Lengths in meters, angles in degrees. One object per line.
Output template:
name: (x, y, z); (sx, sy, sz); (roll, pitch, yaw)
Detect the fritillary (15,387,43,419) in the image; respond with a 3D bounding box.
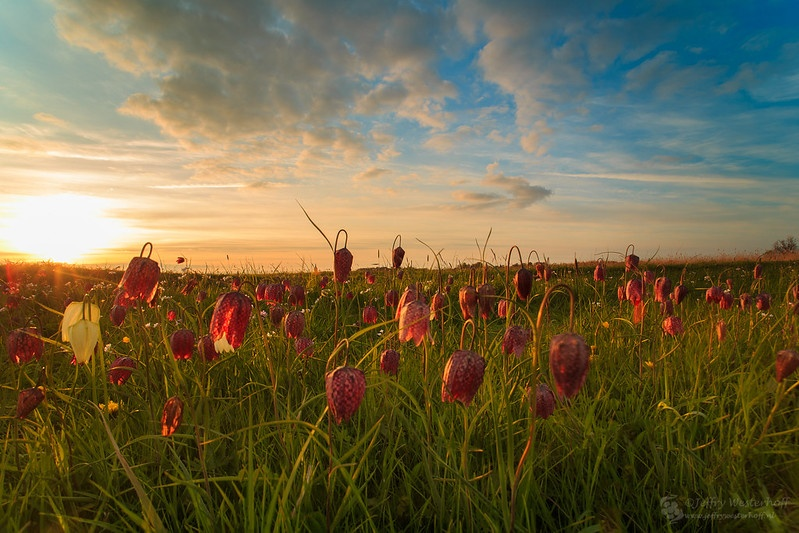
fritillary: (-3.385, 1.223, 4.455); (0.187, 0.331, 0.109); (-2, -5, -5)

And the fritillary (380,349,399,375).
fritillary: (-0.104, 1.027, 5.272); (0.245, 0.296, 0.245); (-2, -14, 14)

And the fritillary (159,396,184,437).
fritillary: (-2.090, 1.357, 4.499); (0.178, 0.356, 0.203); (-7, -15, 39)
